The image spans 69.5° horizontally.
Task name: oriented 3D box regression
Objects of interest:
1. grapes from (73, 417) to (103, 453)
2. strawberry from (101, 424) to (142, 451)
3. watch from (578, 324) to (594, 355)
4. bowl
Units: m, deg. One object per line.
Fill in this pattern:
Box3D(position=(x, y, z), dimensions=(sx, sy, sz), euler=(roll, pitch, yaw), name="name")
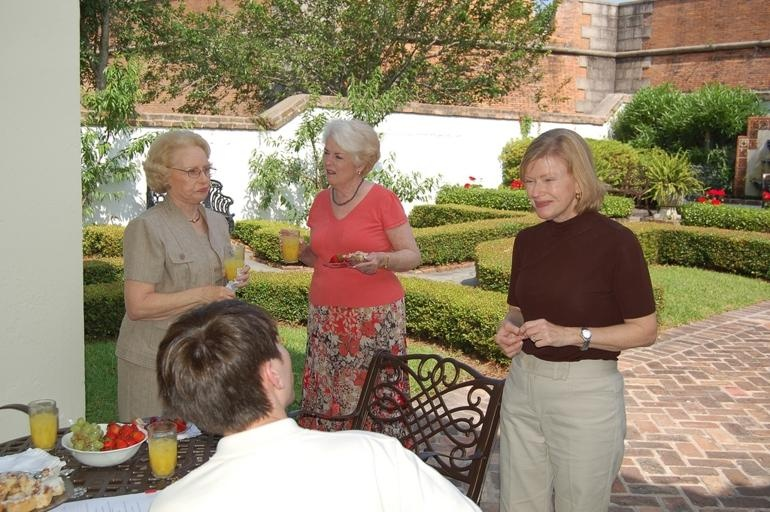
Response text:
Box3D(position=(-1.318, 0.799, 2.447), dimensions=(0.131, 0.125, 0.166), euler=(2, 17, -20), name="grapes")
Box3D(position=(-1.185, 0.791, 2.475), dimensions=(0.116, 0.048, 0.118), euler=(-1, -4, 45), name="strawberry")
Box3D(position=(0.913, 0.373, 2.519), dimensions=(0.058, 0.097, 0.093), euler=(2, 48, 11), name="watch")
Box3D(position=(-1.292, 0.865, 2.491), dimensions=(0.341, 0.098, 0.335), euler=(8, 0, 0), name="bowl")
